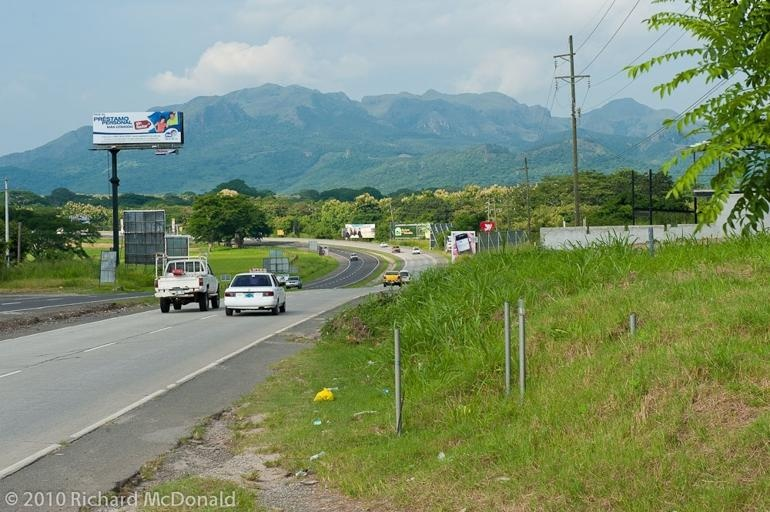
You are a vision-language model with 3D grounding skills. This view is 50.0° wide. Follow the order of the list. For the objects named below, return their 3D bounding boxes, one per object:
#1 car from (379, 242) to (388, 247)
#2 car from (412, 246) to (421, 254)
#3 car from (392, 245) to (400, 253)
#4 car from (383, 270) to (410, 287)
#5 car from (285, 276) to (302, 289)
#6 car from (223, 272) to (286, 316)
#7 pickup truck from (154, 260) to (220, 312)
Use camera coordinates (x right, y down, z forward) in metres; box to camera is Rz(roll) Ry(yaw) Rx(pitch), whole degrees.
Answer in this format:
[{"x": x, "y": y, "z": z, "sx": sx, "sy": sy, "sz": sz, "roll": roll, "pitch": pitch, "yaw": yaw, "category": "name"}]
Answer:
[{"x": -0.575, "y": -2.682, "z": 167.901, "sx": 1.201, "sy": 0.749, "sz": 2.274, "roll": -2, "pitch": 0, "yaw": -3, "category": "car"}, {"x": 5.280, "y": -1.340, "z": 146.253, "sx": 1.137, "sy": 0.906, "sz": 2.661, "roll": 1, "pitch": 8, "yaw": 2, "category": "car"}, {"x": 1.694, "y": -1.603, "z": 152.314, "sx": 1.476, "sy": 1.352, "sz": 2.666, "roll": -1, "pitch": -2, "yaw": -1, "category": "car"}, {"x": 0.733, "y": 1.583, "z": 64.745, "sx": 1.482, "sy": 1.205, "sz": 3.313, "roll": -1, "pitch": -3, "yaw": 4, "category": "car"}, {"x": -9.013, "y": 2.378, "z": 79.524, "sx": 1.037, "sy": 0.814, "sz": 2.341, "roll": -2, "pitch": -4, "yaw": -1, "category": "car"}, {"x": -5.400, "y": 1.478, "z": 33.541, "sx": 2.283, "sy": 1.585, "sz": 1.125, "roll": -2, "pitch": 1, "yaw": -30, "category": "car"}, {"x": -8.832, "y": 1.108, "z": 36.578, "sx": 1.647, "sy": 1.736, "sz": 3.504, "roll": -2, "pitch": -5, "yaw": 1, "category": "pickup truck"}]
